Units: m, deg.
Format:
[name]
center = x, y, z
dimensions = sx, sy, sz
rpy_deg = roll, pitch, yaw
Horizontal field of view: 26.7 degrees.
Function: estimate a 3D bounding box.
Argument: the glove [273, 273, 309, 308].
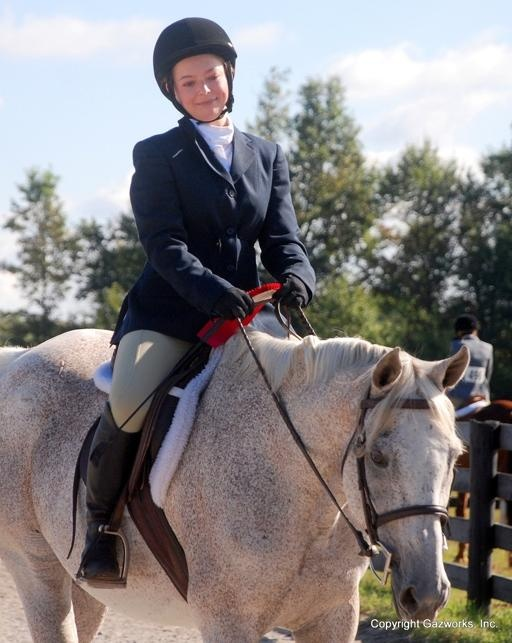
[glove]
center = 0.158, -0.123, 4.349
dimensions = 0.115, 0.067, 0.139
rpy_deg = 4, -23, -5
